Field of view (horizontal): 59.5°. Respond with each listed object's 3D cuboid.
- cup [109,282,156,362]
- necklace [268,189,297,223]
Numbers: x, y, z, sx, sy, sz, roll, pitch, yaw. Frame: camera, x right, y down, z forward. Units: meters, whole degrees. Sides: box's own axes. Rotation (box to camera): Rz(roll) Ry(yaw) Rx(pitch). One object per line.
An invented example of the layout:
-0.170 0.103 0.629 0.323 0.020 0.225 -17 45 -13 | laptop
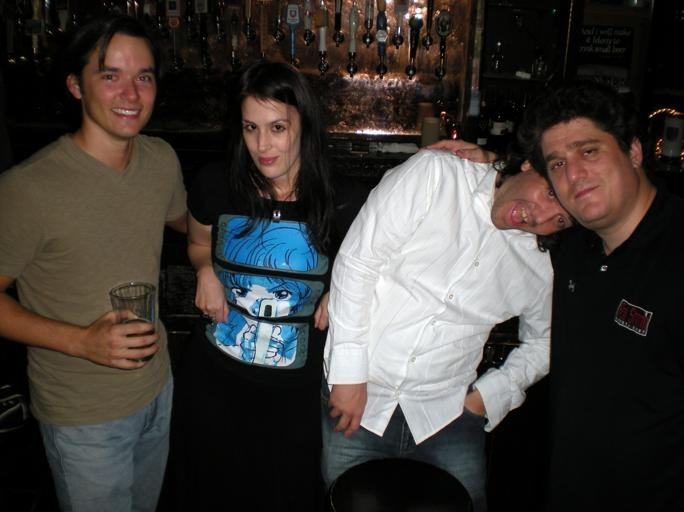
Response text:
-0.670 0.214 1.889 0.165 0.249 0.166 6 24 -3 | cup
-0.243 -0.183 2.289 0.124 0.117 0.035 0 -12 -10 | necklace
